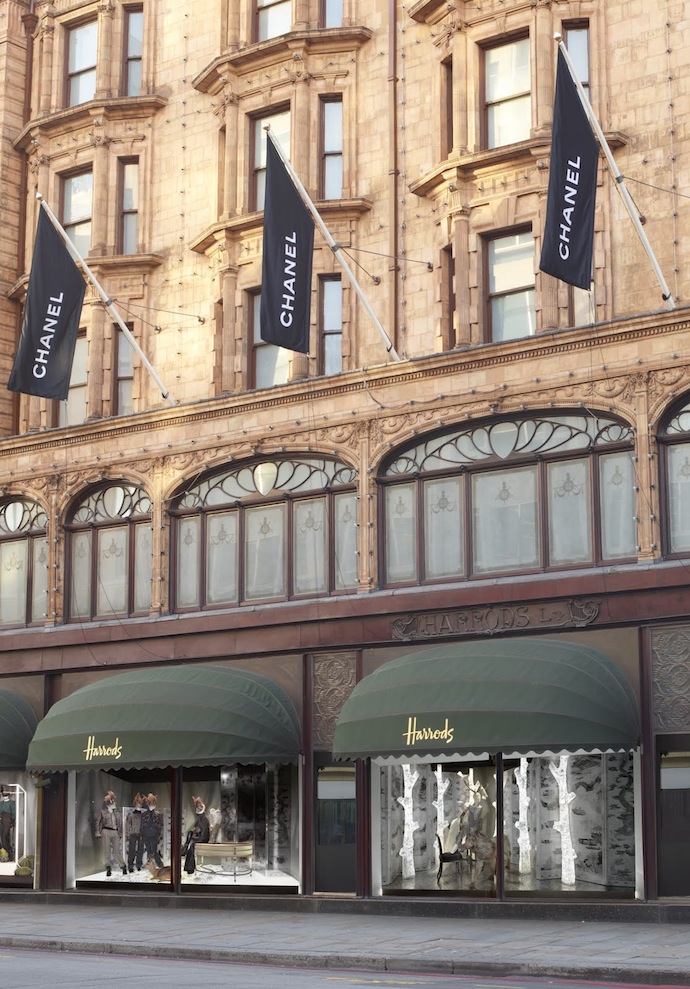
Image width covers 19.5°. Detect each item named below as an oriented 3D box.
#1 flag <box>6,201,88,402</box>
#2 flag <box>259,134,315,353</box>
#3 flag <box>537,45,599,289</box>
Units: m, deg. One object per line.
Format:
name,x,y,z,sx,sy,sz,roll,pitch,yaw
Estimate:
flag,-5.325,-3.470,36.218,1.267,3.573,0.396,5,-12,-32
flag,-1.037,-4.171,33.379,1.058,3.705,0.401,5,-12,-32
flag,3.331,-4.905,30.280,0.482,3.689,1.189,-9,-13,37
